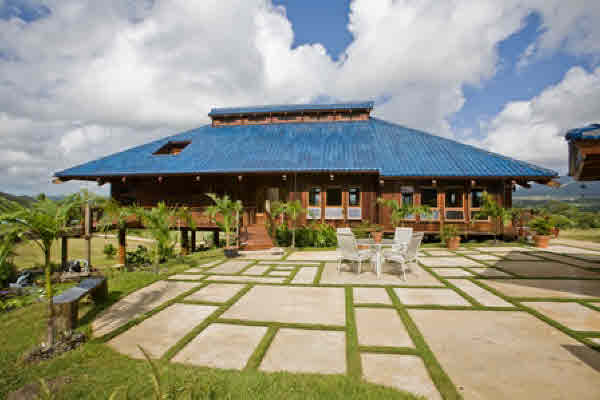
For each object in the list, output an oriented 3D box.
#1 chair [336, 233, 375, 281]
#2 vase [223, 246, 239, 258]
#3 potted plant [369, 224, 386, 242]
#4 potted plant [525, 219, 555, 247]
[{"bbox_3d":[2.045,1.836,12.283,1.248,1.571,2.256,0,4,11],"label":"chair"},{"bbox_3d":[-3.150,2.331,15.189,0.546,0.301,0.529,-3,-3,23],"label":"vase"},{"bbox_3d":[4.076,1.644,17.139,1.028,0.898,0.765,1,-11,-1],"label":"potted plant"},{"bbox_3d":[12.120,1.596,17.052,0.874,1.447,1.348,0,4,12],"label":"potted plant"}]
